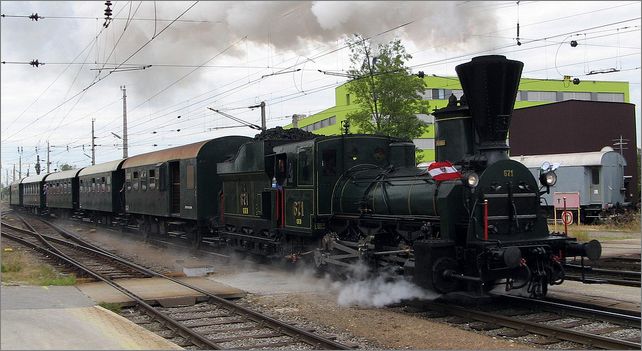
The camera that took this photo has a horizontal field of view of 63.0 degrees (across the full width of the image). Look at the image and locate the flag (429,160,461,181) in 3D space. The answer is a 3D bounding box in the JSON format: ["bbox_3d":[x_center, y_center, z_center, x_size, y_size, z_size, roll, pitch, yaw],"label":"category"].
[{"bbox_3d":[3.775,-0.193,16.439,0.818,0.754,0.646,-12,10,-18],"label":"flag"}]

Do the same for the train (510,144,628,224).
[{"bbox_3d":[18.117,0.974,40.953,3.912,5.238,12.468,1,-3,-24],"label":"train"}]
